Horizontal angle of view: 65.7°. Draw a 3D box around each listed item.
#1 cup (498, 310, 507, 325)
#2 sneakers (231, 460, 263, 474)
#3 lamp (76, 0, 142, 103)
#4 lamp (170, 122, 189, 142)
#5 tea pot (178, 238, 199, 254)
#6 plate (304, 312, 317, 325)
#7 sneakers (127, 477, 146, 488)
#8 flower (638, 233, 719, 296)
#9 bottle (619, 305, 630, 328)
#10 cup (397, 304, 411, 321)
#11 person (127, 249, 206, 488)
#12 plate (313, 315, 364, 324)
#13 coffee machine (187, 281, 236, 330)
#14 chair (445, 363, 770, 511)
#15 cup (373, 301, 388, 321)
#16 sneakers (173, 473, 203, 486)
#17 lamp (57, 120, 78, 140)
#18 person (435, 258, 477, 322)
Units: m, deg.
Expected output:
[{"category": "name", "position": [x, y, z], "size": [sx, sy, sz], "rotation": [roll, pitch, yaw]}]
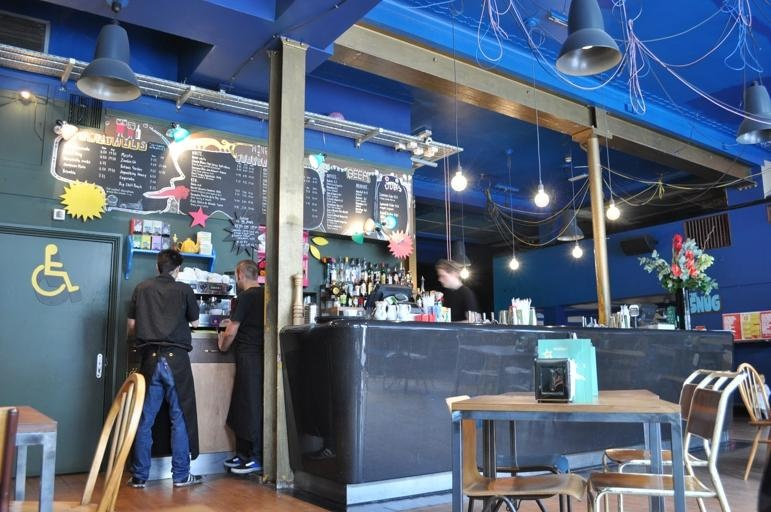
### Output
[{"category": "cup", "position": [1.353, 0.689, 6.806], "size": [0.076, 0.134, 0.195], "rotation": [-1, 8, 16]}, {"category": "sneakers", "position": [-1.460, 2.249, 6.363], "size": [0.336, 0.134, 0.134], "rotation": [4, -18, -6]}, {"category": "lamp", "position": [-2.688, -1.935, 5.762], "size": [0.490, 0.795, 0.458], "rotation": [3, 10, 36]}, {"category": "lamp", "position": [-2.607, -1.558, 7.546], "size": [0.253, 0.233, 0.064], "rotation": [-6, 9, -20]}, {"category": "tea pot", "position": [-2.438, -0.119, 7.368], "size": [0.229, 0.170, 0.153], "rotation": [-1, -1, -18]}, {"category": "plate", "position": [-0.780, 0.646, 6.164], "size": [0.115, 0.112, 0.065], "rotation": [1, -7, -10]}, {"category": "sneakers", "position": [-2.511, 2.260, 6.014], "size": [0.085, 0.091, 0.213], "rotation": [10, -7, -38]}, {"category": "flower", "position": [4.740, 0.133, 9.562], "size": [0.730, 0.774, 0.758], "rotation": [38, -48, -25]}, {"category": "bottle", "position": [2.988, 0.777, 7.401], "size": [0.116, 0.275, 0.392], "rotation": [0, 8, 22]}, {"category": "cup", "position": [0.188, 0.562, 5.974], "size": [0.106, 0.161, 0.169], "rotation": [3, -11, -10]}, {"category": "person", "position": [-2.301, 1.147, 6.170], "size": [0.748, 2.367, 0.729], "rotation": [-4, 8, -8]}, {"category": "plate", "position": [-0.424, 0.597, 5.519], "size": [0.511, 0.077, 0.172], "rotation": [-2, 8, 9]}, {"category": "coffee machine", "position": [-2.051, 0.581, 6.953], "size": [0.522, 0.494, 0.272], "rotation": [6, -9, -37]}, {"category": "chair", "position": [1.504, 1.477, 4.277], "size": [1.633, 1.067, 1.420], "rotation": [-2, -9, 16]}, {"category": "cup", "position": [-0.050, 0.534, 5.873], "size": [0.119, 0.163, 0.135], "rotation": [1, 9, 27]}, {"category": "sneakers", "position": [-2.003, 2.300, 6.077], "size": [0.106, 0.120, 0.268], "rotation": [-2, -4, 45]}, {"category": "lamp", "position": [-3.712, -1.456, 6.961], "size": [0.234, 0.215, 0.066], "rotation": [-6, 9, -24]}, {"category": "person", "position": [0.958, 0.468, 8.353], "size": [0.387, 1.208, 0.555], "rotation": [-8, -42, 5]}]
